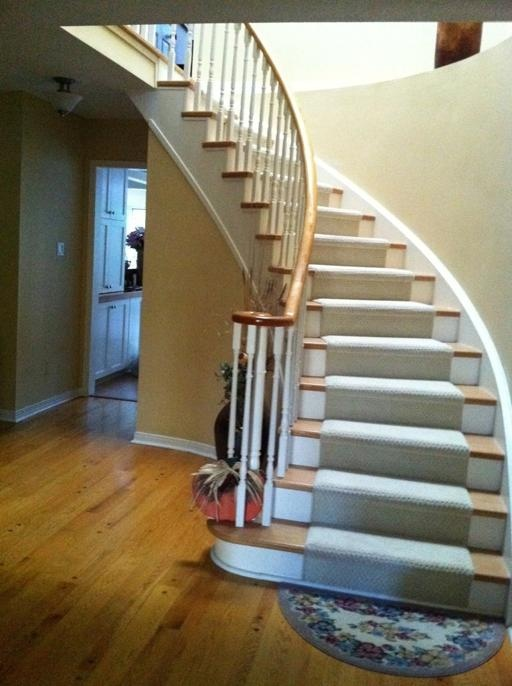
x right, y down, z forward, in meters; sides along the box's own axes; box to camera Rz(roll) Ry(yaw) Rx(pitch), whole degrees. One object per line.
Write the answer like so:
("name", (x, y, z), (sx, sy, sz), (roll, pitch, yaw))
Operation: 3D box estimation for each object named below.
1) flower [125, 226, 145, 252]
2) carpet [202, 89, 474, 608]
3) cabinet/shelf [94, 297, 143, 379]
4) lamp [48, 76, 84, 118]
("flower", (-1.245, -1.069, 5.536), (0.164, 0.271, 0.485), (2, 6, -14))
("carpet", (0.578, 0.166, 2.745), (0.933, 1.515, 1.644), (5, 6, 12))
("cabinet/shelf", (-1.405, -0.027, 5.420), (0.273, 0.649, 0.772), (5, 12, 13))
("lamp", (-1.188, -1.587, 3.457), (0.227, 0.220, 0.229), (-1, -3, 0))
